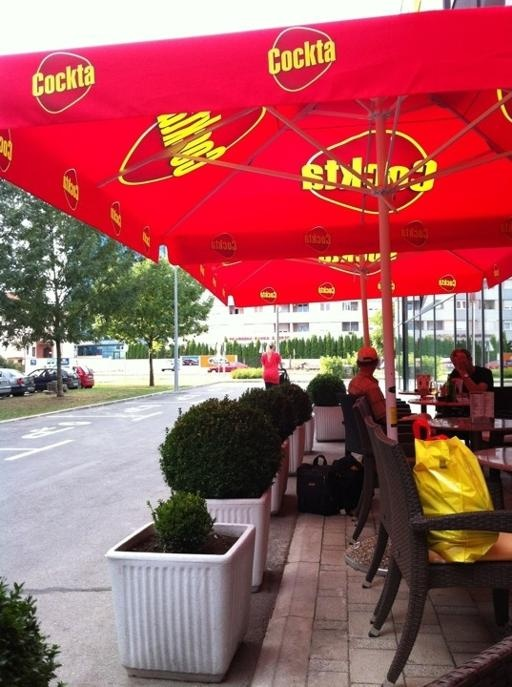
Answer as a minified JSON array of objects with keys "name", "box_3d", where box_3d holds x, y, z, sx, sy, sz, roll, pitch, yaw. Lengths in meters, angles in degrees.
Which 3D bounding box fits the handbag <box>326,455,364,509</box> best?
[{"name":"handbag","box_3d":[0.999,1.532,6.348,0.346,0.597,0.509,-1,-2,16]}]

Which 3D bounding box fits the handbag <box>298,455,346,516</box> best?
[{"name":"handbag","box_3d":[0.704,1.549,6.201,0.583,0.783,0.407,-3,-4,21]}]

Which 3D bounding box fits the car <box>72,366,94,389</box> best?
[{"name":"car","box_3d":[-10.572,2.085,35.460,0.977,0.826,1.610,-2,10,-32]}]

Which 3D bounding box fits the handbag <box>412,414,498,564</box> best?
[{"name":"handbag","box_3d":[0.960,0.686,2.814,0.339,0.642,0.509,-8,-2,17]}]

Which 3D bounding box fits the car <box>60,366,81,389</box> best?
[{"name":"car","box_3d":[-10.984,1.950,33.811,1.148,0.991,2.038,-1,12,-25]}]
